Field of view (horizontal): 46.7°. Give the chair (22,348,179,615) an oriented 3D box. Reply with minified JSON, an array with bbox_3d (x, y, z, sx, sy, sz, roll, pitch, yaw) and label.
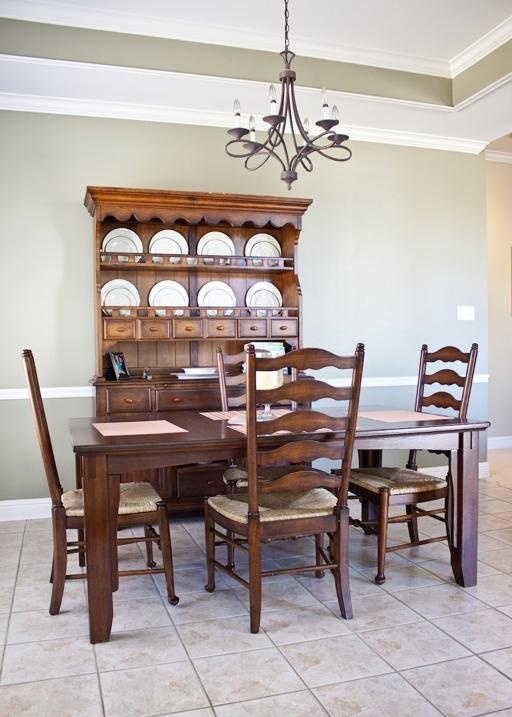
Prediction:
[{"bbox_3d":[-0.602,0.495,2.359,0.587,0.885,0.502,1,-10,-22],"label":"chair"}]

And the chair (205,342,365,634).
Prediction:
[{"bbox_3d":[0.114,0.458,2.270,0.586,0.957,0.581,1,-1,-31],"label":"chair"}]

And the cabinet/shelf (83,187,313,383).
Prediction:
[{"bbox_3d":[-0.357,-0.346,3.842,1.389,1.282,0.347,-2,7,-18],"label":"cabinet/shelf"}]
